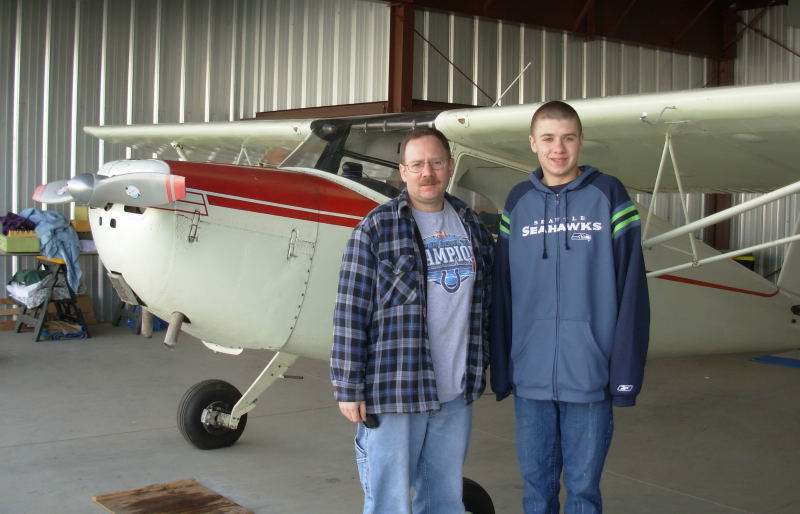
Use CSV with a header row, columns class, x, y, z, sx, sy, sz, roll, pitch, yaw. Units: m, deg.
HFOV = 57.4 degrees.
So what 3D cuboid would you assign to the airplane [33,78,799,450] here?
class,x,y,z,sx,sy,sz,roll,pitch,yaw
airplane,-0.021,0.162,5.806,3.546,1.447,3.900,2,1,-25
